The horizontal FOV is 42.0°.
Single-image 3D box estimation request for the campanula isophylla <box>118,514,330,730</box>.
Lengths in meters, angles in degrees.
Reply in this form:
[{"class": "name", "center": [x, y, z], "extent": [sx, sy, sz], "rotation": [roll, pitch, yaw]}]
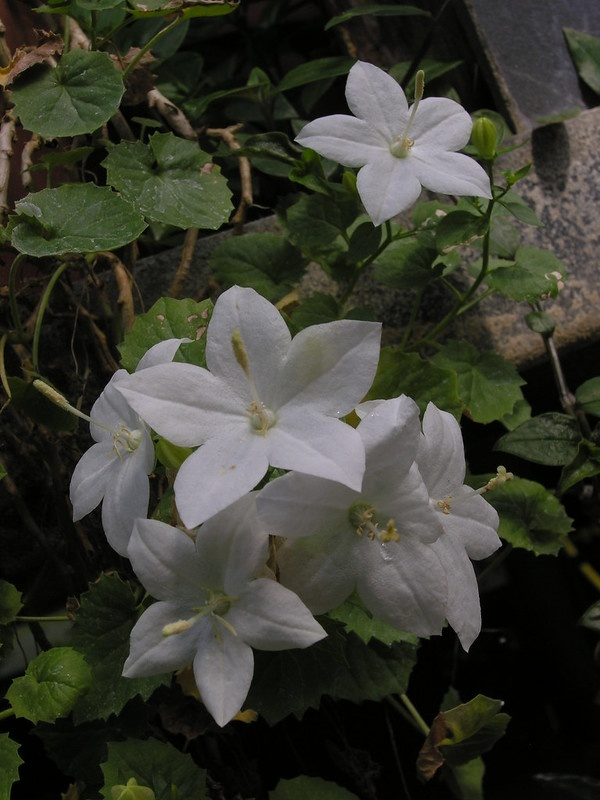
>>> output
[{"class": "campanula isophylla", "center": [-0.092, 0.254, 0.951], "extent": [0.322, 0.115, 0.253], "rotation": [-2, 76, 23]}]
